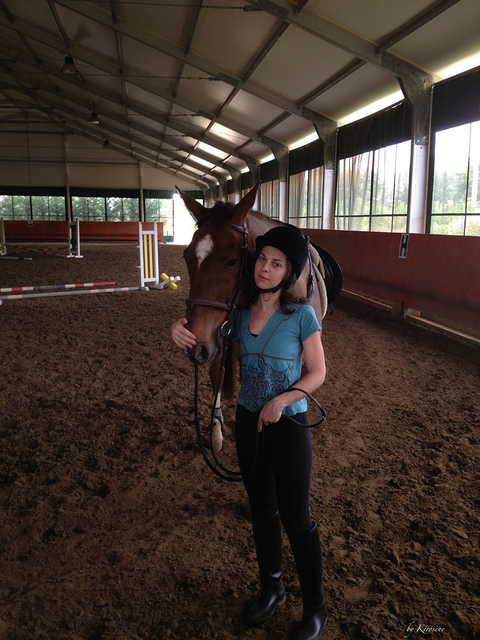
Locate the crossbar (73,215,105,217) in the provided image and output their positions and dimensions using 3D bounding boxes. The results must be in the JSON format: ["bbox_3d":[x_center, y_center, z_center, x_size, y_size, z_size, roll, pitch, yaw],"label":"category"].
[{"bbox_3d":[-9.100,-6.302,24.317,1.724,0.121,0.313,0,10,3],"label":"crossbar"}]

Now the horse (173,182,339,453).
[{"bbox_3d":[0.126,-0.022,1.825,0.370,0.972,1.334,6,9,21],"label":"horse"}]

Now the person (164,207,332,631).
[{"bbox_3d":[0.077,0.285,1.377,0.487,1.193,0.877,2,10,13],"label":"person"}]

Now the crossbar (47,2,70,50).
[{"bbox_3d":[-4.128,-6.703,9.152,0.132,0.169,2.023,-2,11,-13],"label":"crossbar"}]

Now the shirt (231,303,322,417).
[{"bbox_3d":[0.070,0.106,1.094,0.215,0.339,0.114,0,-18,19],"label":"shirt"}]

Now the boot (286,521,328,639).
[{"bbox_3d":[0.168,0.638,0.982,0.098,0.266,0.080,0,9,-1],"label":"boot"}]

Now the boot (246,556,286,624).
[{"bbox_3d":[0.072,0.719,1.087,0.051,0.161,0.123,7,12,38],"label":"boot"}]

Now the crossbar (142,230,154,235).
[{"bbox_3d":[-1.674,-1.597,7.356,0.160,0.068,0.568,-1,11,-7],"label":"crossbar"}]
